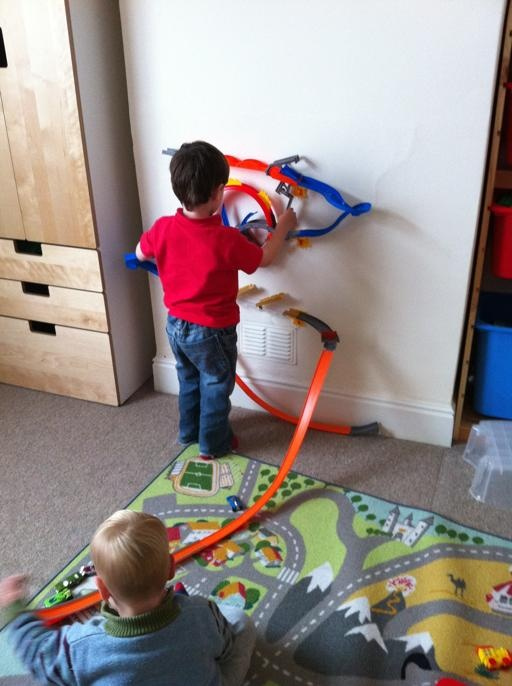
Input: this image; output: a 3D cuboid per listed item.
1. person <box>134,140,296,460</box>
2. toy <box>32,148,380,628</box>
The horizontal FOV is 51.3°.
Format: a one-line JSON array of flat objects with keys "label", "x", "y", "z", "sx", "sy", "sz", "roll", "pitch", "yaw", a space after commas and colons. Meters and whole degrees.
[{"label": "person", "x": -0.126, "y": -0.112, "z": 1.717, "sx": 0.475, "sy": 1.026, "sz": 0.281, "roll": -5, "pitch": 28, "yaw": -10}, {"label": "toy", "x": -0.028, "y": 0.066, "z": 1.586, "sx": 0.885, "sy": 0.568, "sz": 1.236, "roll": 1, "pitch": 58, "yaw": 5}]
